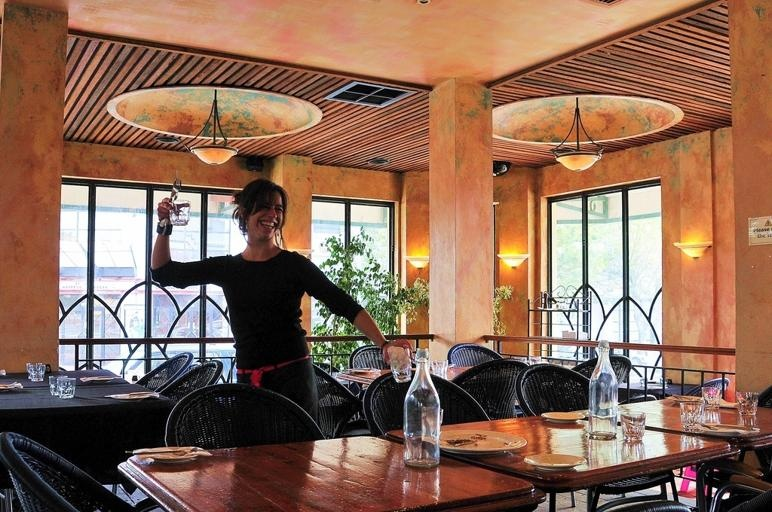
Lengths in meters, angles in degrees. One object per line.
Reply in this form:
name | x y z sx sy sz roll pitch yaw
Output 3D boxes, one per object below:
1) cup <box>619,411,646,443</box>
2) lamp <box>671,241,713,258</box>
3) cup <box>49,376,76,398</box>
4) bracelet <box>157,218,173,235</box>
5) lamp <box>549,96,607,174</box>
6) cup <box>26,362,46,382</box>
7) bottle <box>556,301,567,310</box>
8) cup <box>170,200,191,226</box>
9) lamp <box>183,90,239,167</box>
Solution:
cup | 1.034 0.722 2.710 0.140 0.135 0.133 -1 -8 0
lamp | 4.581 -0.095 9.473 0.216 0.242 0.519 5 -8 -32
cup | -1.846 0.750 3.606 0.119 0.081 0.176 3 -10 -17
bracelet | -1.187 -0.160 3.381 0.078 0.090 0.099 6 -6 -19
lamp | 2.680 -1.660 8.879 0.589 1.152 1.630 -2 -7 18
cup | -2.441 0.797 4.369 0.162 0.124 0.163 0 -12 0
bottle | 3.208 0.892 11.595 0.151 0.114 0.072 1 -13 -4
cup | -1.167 -0.245 3.578 0.143 0.137 0.132 0 -6 0
lamp | -2.480 -1.773 9.100 0.580 1.107 1.561 2 -7 -16
